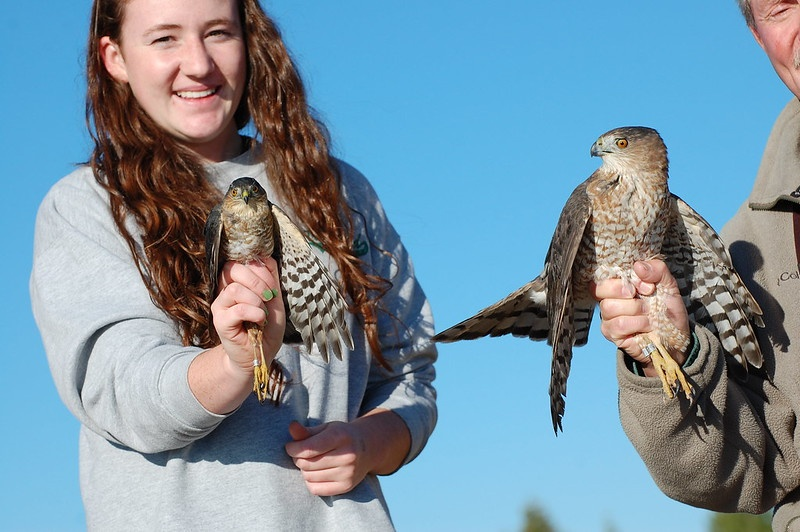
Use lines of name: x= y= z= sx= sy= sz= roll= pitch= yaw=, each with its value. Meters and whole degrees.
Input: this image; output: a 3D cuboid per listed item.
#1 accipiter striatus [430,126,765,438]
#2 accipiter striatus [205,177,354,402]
accipiter striatus: x=1.556 y=-0.210 z=8.685 sx=1.679 sy=1.743 sz=1.973 roll=14 pitch=31 yaw=36
accipiter striatus: x=-0.816 y=0.124 z=8.174 sx=0.930 sy=1.450 sz=0.660 roll=-4 pitch=15 yaw=-4
